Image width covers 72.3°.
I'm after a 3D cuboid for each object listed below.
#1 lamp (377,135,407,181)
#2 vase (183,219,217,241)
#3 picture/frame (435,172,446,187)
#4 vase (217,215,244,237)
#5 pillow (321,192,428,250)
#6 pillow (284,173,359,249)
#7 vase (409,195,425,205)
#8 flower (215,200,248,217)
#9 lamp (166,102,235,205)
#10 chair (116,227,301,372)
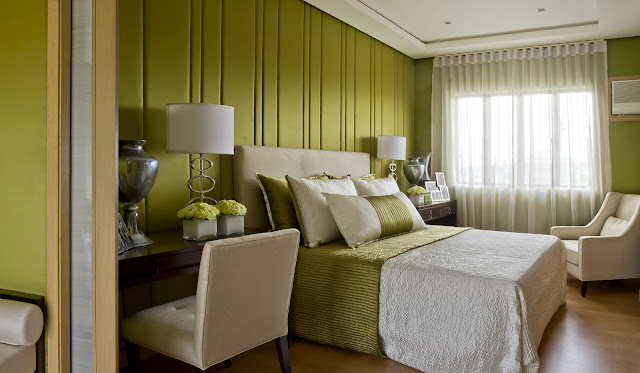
[{"bbox_3d":[1.059,-0.388,6.455,0.449,0.725,0.451,3,6,13],"label":"lamp"},{"bbox_3d":[-1.062,0.358,3.860,0.215,0.205,0.219,-2,-4,34],"label":"vase"},{"bbox_3d":[1.988,-0.116,7.220,0.018,0.199,0.237,-11,-3,40],"label":"picture/frame"},{"bbox_3d":[-0.809,0.355,4.030,0.196,0.190,0.199,-2,-3,29],"label":"vase"},{"bbox_3d":[0.709,0.307,4.859,0.468,0.500,1.535,7,6,40],"label":"pillow"},{"bbox_3d":[0.128,0.261,4.818,0.408,0.859,1.190,-12,-7,37],"label":"pillow"},{"bbox_3d":[1.444,0.187,6.476,0.168,0.124,0.172,0,1,31],"label":"vase"},{"bbox_3d":[-0.801,0.202,4.038,0.173,0.085,0.187,2,-2,19],"label":"flower"},{"bbox_3d":[-1.155,-0.281,4.109,0.565,0.964,0.538,-10,10,-40],"label":"lamp"},{"bbox_3d":[-0.836,0.746,3.575,1.218,1.502,1.104,2,0,32],"label":"chair"}]
